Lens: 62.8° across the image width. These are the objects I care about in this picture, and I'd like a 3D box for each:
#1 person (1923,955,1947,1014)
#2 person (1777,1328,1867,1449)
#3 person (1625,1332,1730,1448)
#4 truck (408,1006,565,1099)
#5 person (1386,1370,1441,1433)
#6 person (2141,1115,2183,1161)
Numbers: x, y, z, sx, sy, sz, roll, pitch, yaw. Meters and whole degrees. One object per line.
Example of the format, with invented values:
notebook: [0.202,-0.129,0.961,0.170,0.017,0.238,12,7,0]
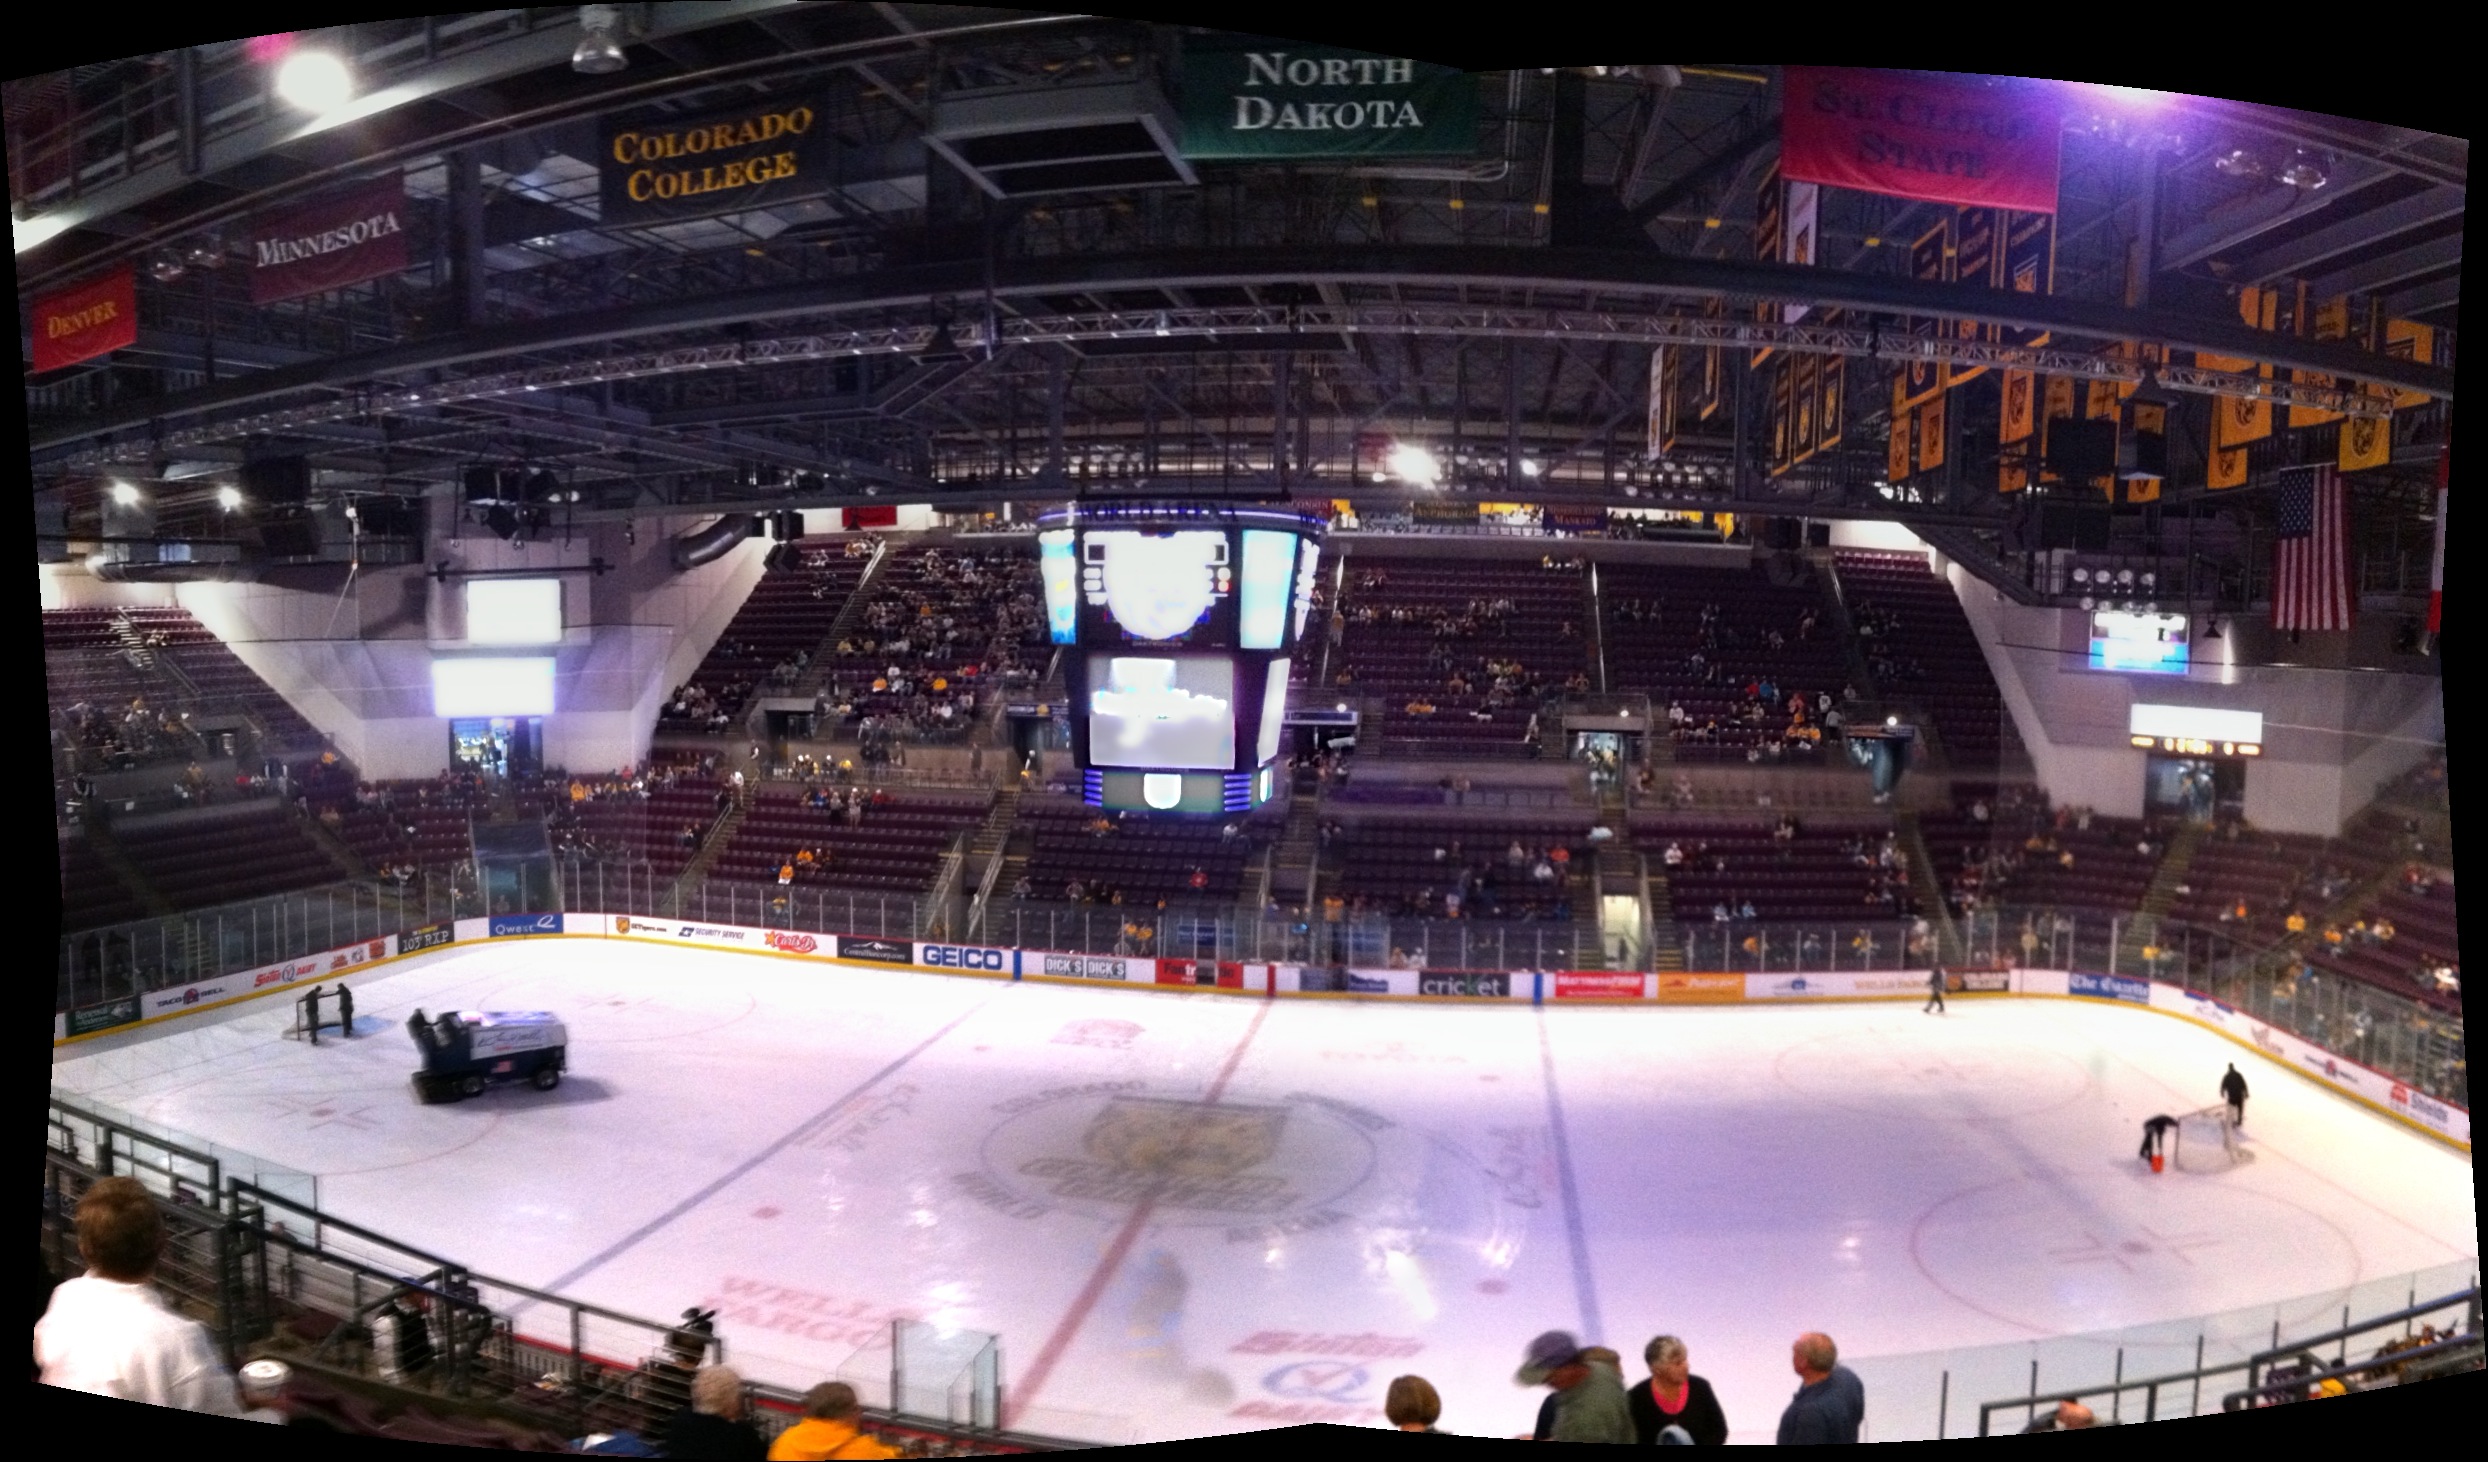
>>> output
person: [15.314,5.708,44.827,0.478,1.337,1.420,-6,-30,19]
person: [7.783,8.830,27.344,0.975,1.531,0.990,-5,-30,17]
person: [5.793,8.860,27.234,1.169,1.405,0.679,-1,-30,10]
truck: [-14.741,6.179,39.510,2.244,1.153,2.035,-1,3,-28]
person: [2.210,8.727,26.252,0.601,0.722,0.718,-1,-28,11]
person: [16.834,7.466,37.258,0.809,0.403,1.045,-1,-4,20]
